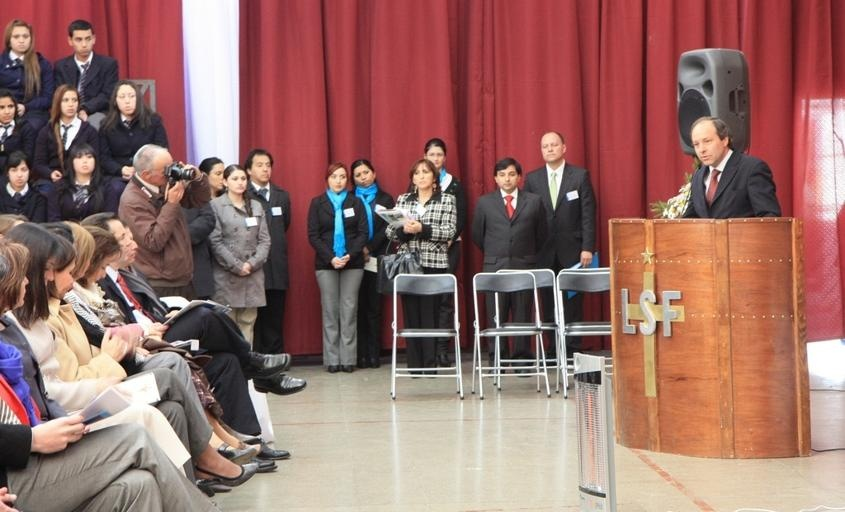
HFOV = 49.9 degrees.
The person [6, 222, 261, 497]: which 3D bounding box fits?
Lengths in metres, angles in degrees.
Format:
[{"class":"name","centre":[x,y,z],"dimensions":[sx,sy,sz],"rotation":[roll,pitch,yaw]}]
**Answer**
[{"class":"person","centre":[-1.956,0.693,7.045],"dimensions":[1.341,1.822,0.800],"rotation":[-4,12,-14]}]

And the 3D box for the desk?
[{"class":"desk","centre":[2.303,0.646,7.247],"dimensions":[1.510,1.877,0.538],"rotation":[1,8,16]}]

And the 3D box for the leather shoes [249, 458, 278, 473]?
[{"class":"leather shoes","centre":[-1.275,1.657,7.123],"dimensions":[0.271,0.105,0.087],"rotation":[-1,0,-4]}]

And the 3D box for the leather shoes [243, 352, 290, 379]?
[{"class":"leather shoes","centre":[-1.262,0.874,7.414],"dimensions":[0.413,0.174,0.161],"rotation":[-11,28,3]}]

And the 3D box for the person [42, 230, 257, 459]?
[{"class":"person","centre":[-1.787,0.593,6.636],"dimensions":[1.620,1.783,0.686],"rotation":[-4,18,17]}]

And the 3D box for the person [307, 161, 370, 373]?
[{"class":"person","centre":[-0.947,0.139,10.297],"dimensions":[0.673,2.358,0.452],"rotation":[-2,8,-6]}]

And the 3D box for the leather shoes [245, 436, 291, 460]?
[{"class":"leather shoes","centre":[-1.273,1.564,7.269],"dimensions":[0.440,0.159,0.142],"rotation":[2,-3,-7]}]

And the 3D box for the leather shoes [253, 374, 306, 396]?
[{"class":"leather shoes","centre":[-1.163,1.073,7.523],"dimensions":[0.430,0.193,0.172],"rotation":[-3,4,2]}]

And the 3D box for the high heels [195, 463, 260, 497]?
[{"class":"high heels","centre":[-1.349,1.612,6.460],"dimensions":[0.539,0.114,0.163],"rotation":[-5,0,13]}]

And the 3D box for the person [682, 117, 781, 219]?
[{"class":"person","centre":[2.565,-0.723,7.426],"dimensions":[0.704,0.807,0.271],"rotation":[3,9,27]}]

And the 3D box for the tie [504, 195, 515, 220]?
[{"class":"tie","centre":[0.968,-0.548,10.058],"dimensions":[0.100,0.235,0.097],"rotation":[-1,8,3]}]

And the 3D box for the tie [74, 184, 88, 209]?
[{"class":"tie","centre":[-3.297,-0.582,8.744],"dimensions":[0.148,0.177,0.065],"rotation":[4,-14,-3]}]

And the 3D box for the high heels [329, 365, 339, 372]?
[{"class":"high heels","centre":[-1.014,1.299,10.324],"dimensions":[0.090,0.080,0.088],"rotation":[1,-1,-23]}]

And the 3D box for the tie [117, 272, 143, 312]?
[{"class":"tie","centre":[-2.269,0.296,7.015],"dimensions":[0.105,0.282,0.211],"rotation":[-41,2,11]}]

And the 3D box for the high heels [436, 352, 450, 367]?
[{"class":"high heels","centre":[0.226,1.193,10.340],"dimensions":[0.173,0.180,0.442],"rotation":[1,-5,-5]}]

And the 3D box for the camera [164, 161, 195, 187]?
[{"class":"camera","centre":[-2.096,-0.704,7.811],"dimensions":[0.208,0.126,0.214],"rotation":[2,-4,11]}]
